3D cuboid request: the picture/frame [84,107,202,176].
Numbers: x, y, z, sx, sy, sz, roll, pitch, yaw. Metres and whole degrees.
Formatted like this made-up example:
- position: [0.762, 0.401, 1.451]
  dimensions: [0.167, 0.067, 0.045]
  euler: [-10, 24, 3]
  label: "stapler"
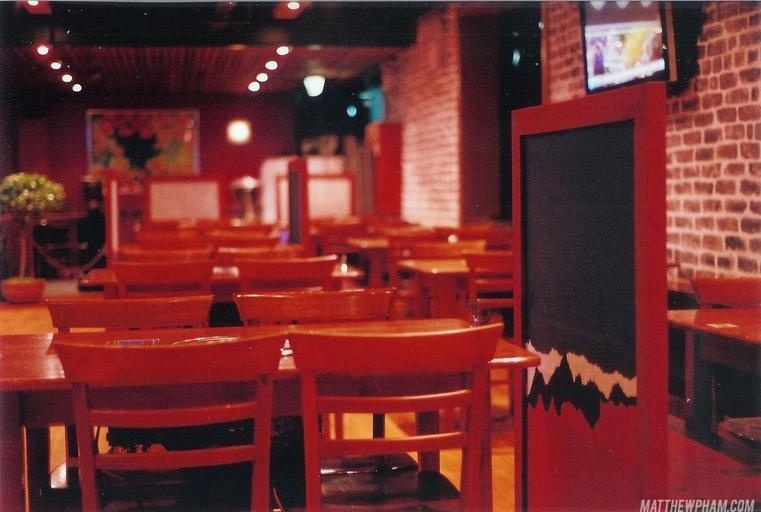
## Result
- position: [-0.988, -0.459, 2.830]
  dimensions: [0.470, 0.270, 0.020]
  euler: [2, 4, 7]
  label: "picture/frame"
